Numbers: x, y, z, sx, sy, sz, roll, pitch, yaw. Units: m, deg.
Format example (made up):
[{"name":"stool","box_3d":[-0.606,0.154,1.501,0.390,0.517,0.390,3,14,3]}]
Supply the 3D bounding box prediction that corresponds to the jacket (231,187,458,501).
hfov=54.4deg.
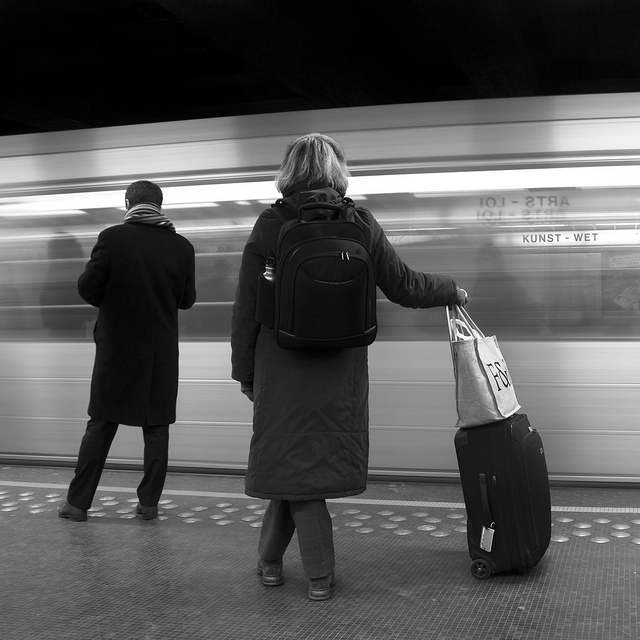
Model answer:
[{"name":"jacket","box_3d":[-0.080,0.044,2.412,0.779,1.110,0.818,0,15,-22]}]

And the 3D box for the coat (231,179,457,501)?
[{"name":"coat","box_3d":[0.018,0.019,2.492,0.619,1.242,0.547,-1,-1,6]}]

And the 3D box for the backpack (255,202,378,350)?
[{"name":"backpack","box_3d":[-0.031,-0.167,2.206,0.442,0.543,0.267,-2,-3,3]}]

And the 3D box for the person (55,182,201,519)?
[{"name":"person","box_3d":[-1.044,0.167,3.447,0.692,1.873,0.347,-1,-3,-20]}]
